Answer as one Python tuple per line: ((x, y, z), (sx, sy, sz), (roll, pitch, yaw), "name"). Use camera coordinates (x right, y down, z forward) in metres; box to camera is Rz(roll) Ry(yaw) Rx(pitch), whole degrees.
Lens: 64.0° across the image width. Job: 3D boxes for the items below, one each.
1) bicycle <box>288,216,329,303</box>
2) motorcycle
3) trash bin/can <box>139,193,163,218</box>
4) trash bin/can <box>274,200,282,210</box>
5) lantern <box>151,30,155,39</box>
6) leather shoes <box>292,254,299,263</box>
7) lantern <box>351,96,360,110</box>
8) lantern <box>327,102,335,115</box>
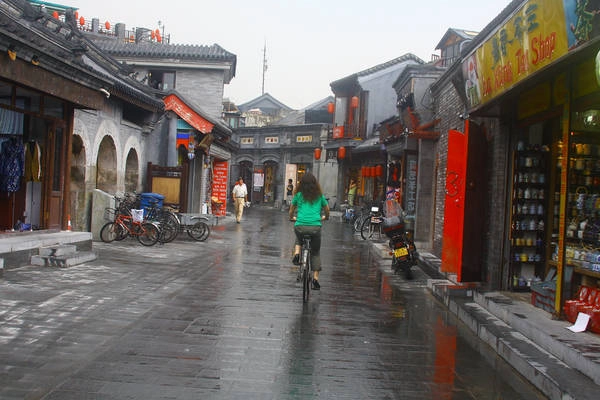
((0.152, 1.266, 9.009), (0.421, 1.184, 0.979), (3, 4, 0), "bicycle")
((2.481, 0.958, 11.935), (0.869, 1.811, 1.264), (4, 4, 11), "motorcycle")
((-4.775, 0.174, 15.228), (0.761, 0.765, 0.670), (0, 3, -3), "trash bin/can")
((-1.889, 0.401, 39.089), (0.654, 0.721, 0.672), (1, 2, 4), "trash bin/can")
((-12.535, -13.815, 40.459), (0.290, 0.829, 1.457), (2, 5, -18), "lantern")
((-0.085, 1.090, 8.957), (0.117, 0.166, 0.104), (2, 4, -10), "leather shoes")
((3.654, -6.635, 32.120), (0.531, 0.868, 1.635), (4, 4, 7), "lantern")
((2.227, -6.722, 34.652), (0.491, 0.797, 1.516), (3, 4, 3), "lantern")
